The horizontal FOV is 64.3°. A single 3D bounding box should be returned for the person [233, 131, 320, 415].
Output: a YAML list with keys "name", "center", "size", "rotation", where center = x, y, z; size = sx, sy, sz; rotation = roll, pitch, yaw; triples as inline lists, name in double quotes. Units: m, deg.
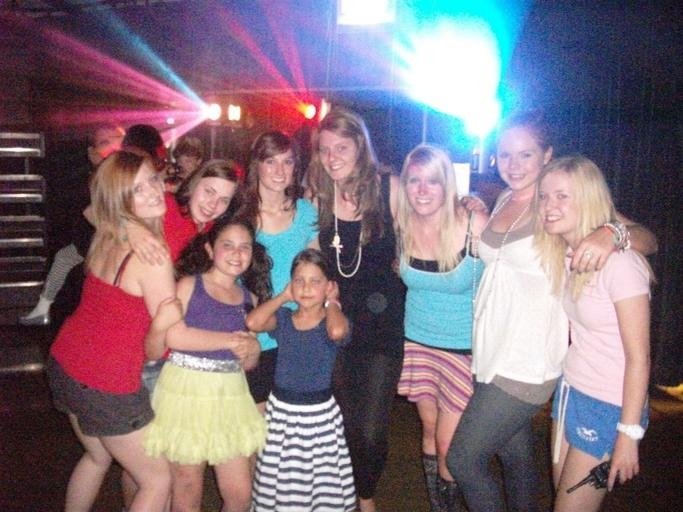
- name: "person"
  center: [-0.476, 0.353, 4.417]
  size: [0.862, 2.601, 0.804]
  rotation: [-5, 17, -14]

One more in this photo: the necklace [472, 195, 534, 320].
- name: "necklace"
  center: [1.105, -0.057, 3.802]
  size: [0.292, 1.001, 0.052]
  rotation: [15, -19, 43]

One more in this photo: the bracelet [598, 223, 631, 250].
- name: "bracelet"
  center: [1.659, -0.116, 3.292]
  size: [0.082, 0.135, 0.170]
  rotation: [-13, -11, 44]
